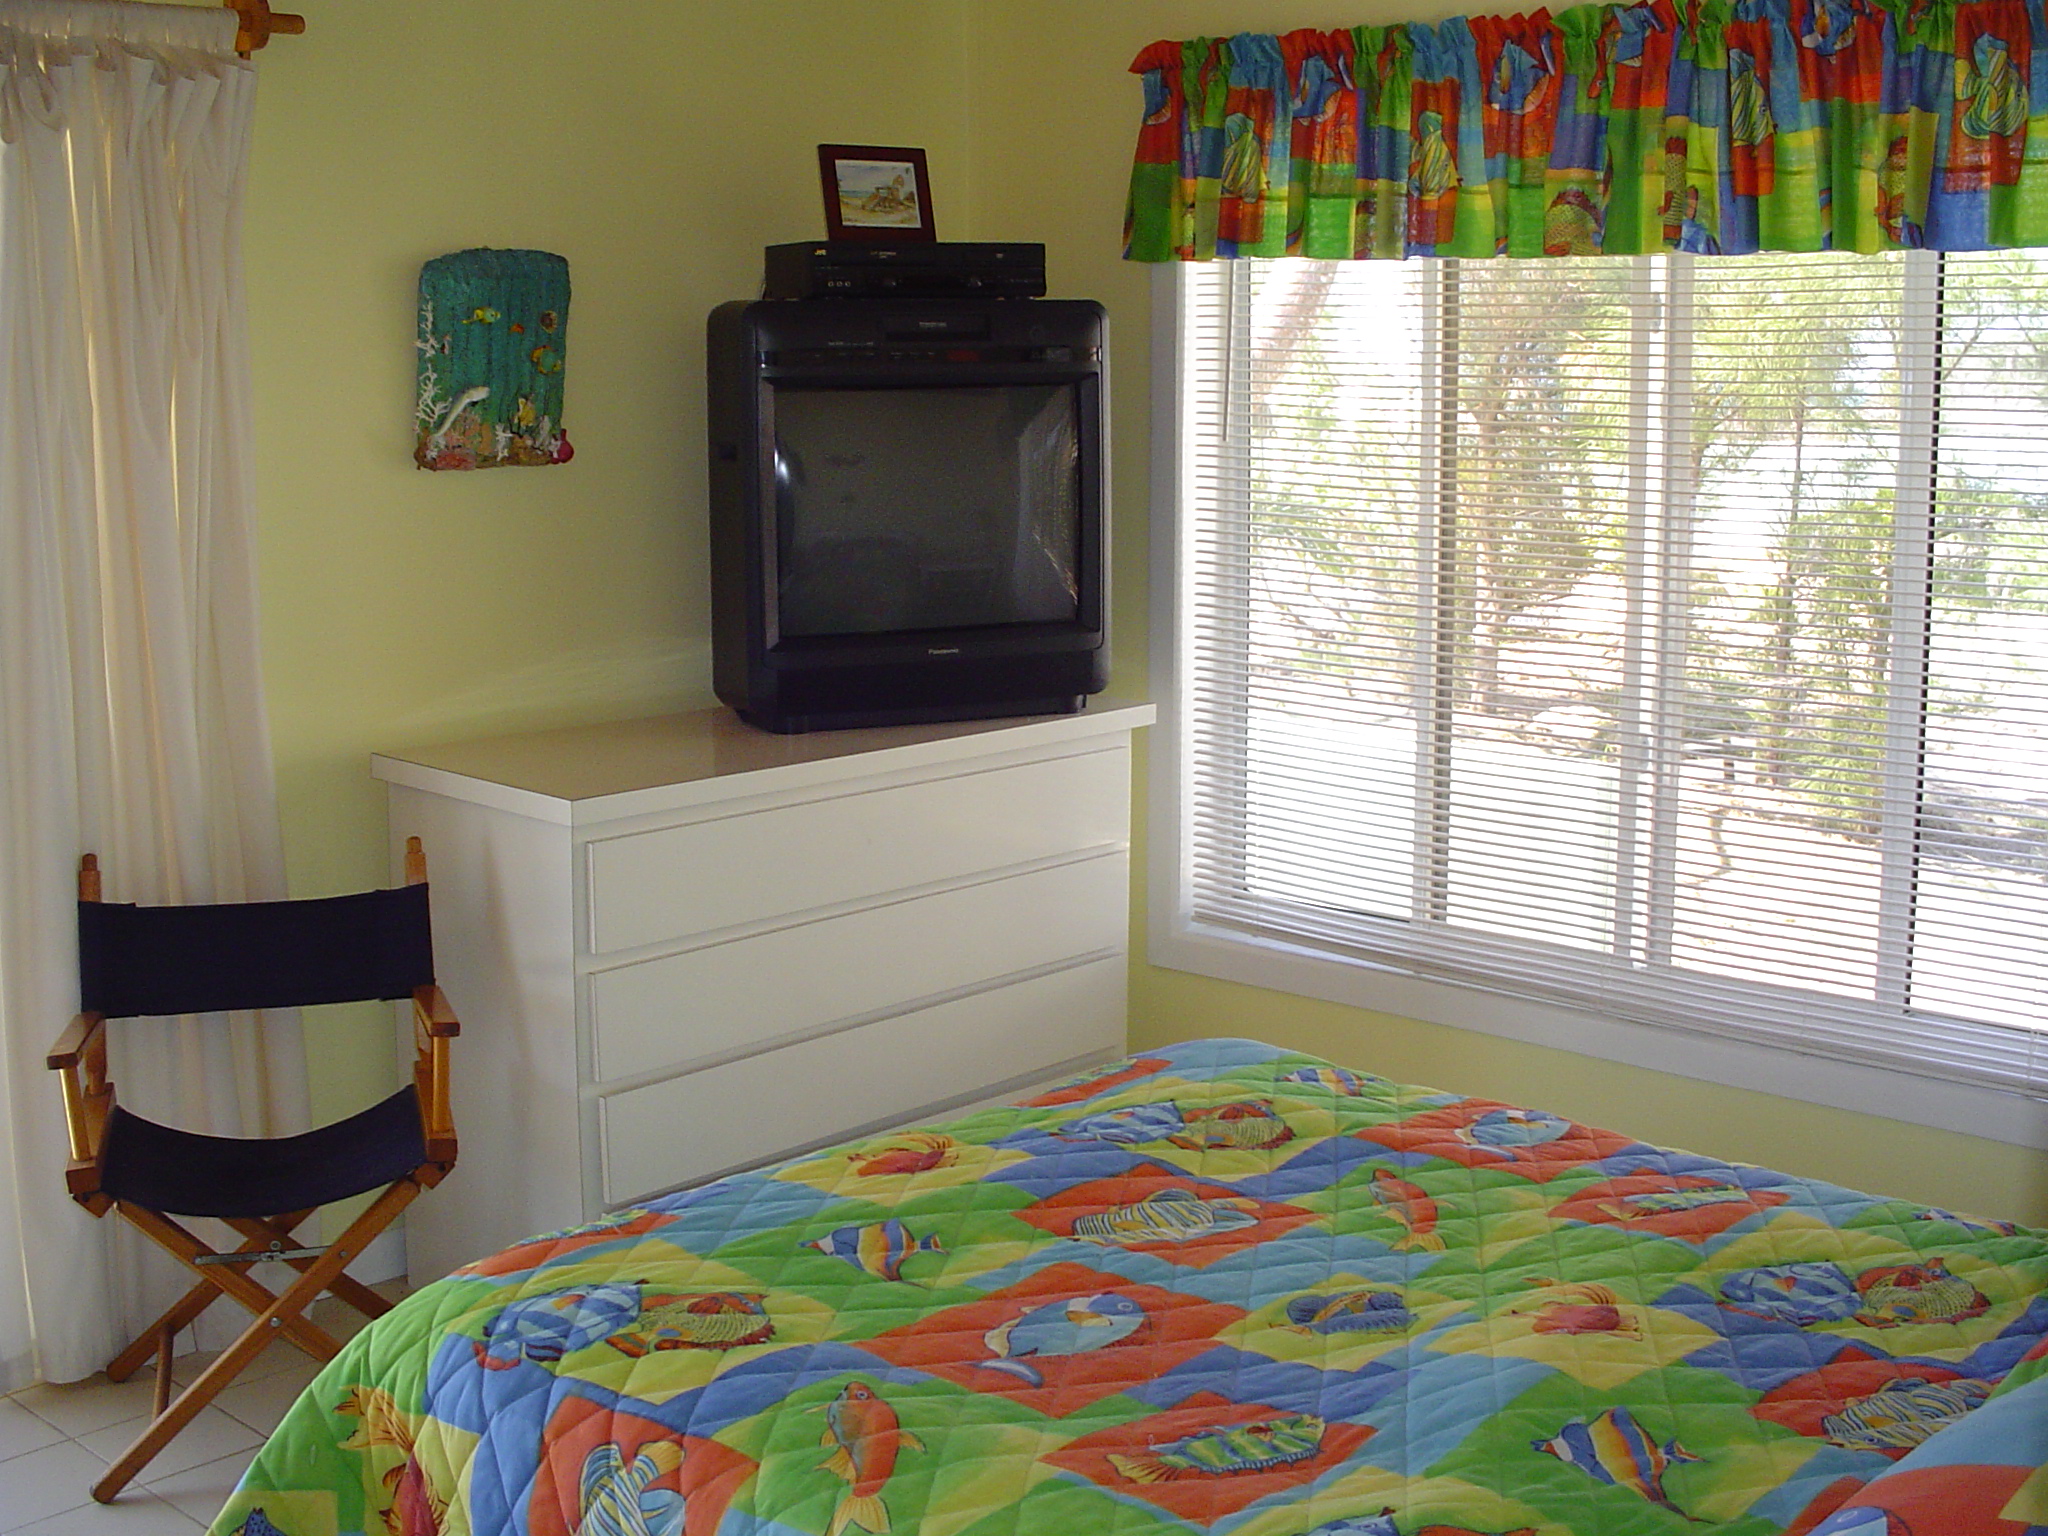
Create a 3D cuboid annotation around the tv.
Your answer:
[{"bbox_3d":[-0.287,-0.604,3.722,1.054,1.048,0.555,-3,5,-25],"label":"tv"}]

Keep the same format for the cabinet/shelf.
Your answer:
[{"bbox_3d":[-0.604,0.441,3.227,1.318,1.124,0.497,-7,9,-42],"label":"cabinet/shelf"}]

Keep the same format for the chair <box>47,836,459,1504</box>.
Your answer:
[{"bbox_3d":[-1.441,0.736,3.090,0.727,1.010,0.642,-2,6,-31],"label":"chair"}]
